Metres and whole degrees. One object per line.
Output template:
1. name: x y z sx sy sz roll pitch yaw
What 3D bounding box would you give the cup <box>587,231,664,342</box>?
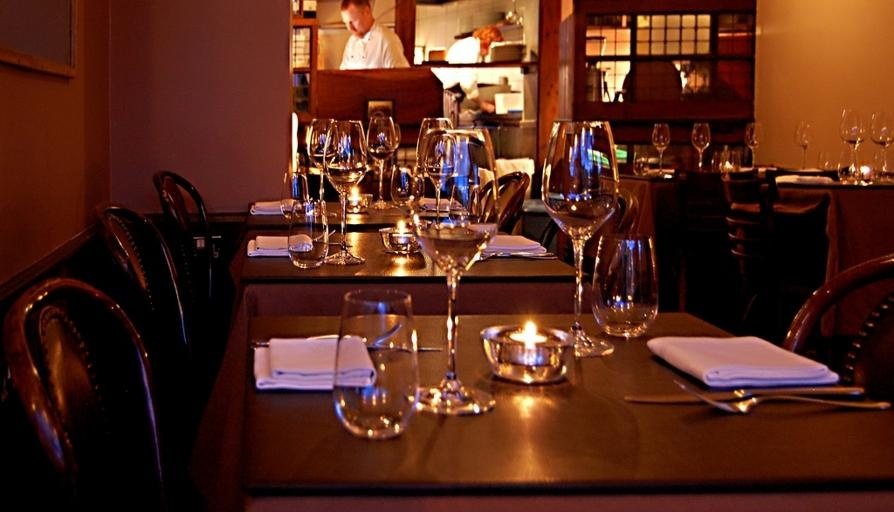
1. cup: 0.463 0.076 1.859 0.218 0.351 0.234 0 2 0

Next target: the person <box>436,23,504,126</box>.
1. person: 0.186 -1.822 7.269 0.552 0.785 1.151 -1 14 2

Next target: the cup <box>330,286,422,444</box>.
1. cup: -0.139 0.209 1.633 0.237 0.409 0.259 3 5 0
